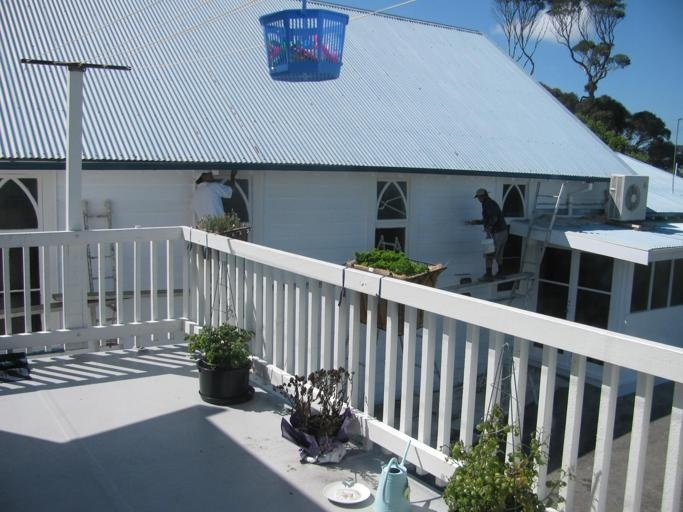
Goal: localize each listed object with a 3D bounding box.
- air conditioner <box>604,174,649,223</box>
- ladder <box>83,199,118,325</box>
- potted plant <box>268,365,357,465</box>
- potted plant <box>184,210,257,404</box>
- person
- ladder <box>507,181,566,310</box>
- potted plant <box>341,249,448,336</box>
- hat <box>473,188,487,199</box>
[{"bbox_3d":[6.283,-1.301,17.363,0.732,1.053,0.342,0,7,-23],"label":"air conditioner"},{"bbox_3d":[-3.747,0.104,12.418,0.433,2.080,1.034,-4,7,-18],"label":"ladder"},{"bbox_3d":[-0.282,1.525,7.951,0.702,1.122,0.787,13,26,30],"label":"potted plant"},{"bbox_3d":[-1.397,0.527,9.166,0.734,1.856,1.838,-3,8,-9],"label":"potted plant"},{"bbox_3d":[2.964,-0.489,15.642,0.680,1.839,1.216,4,9,38],"label":"person"},{"bbox_3d":[4.103,-0.295,16.578,1.030,2.409,2.237,1,8,17],"label":"ladder"},{"bbox_3d":[0.673,0.552,9.497,1.091,1.174,1.717,-4,9,-16],"label":"potted plant"},{"bbox_3d":[2.678,-1.225,15.297,0.229,0.241,0.553,-1,9,8],"label":"hat"}]
